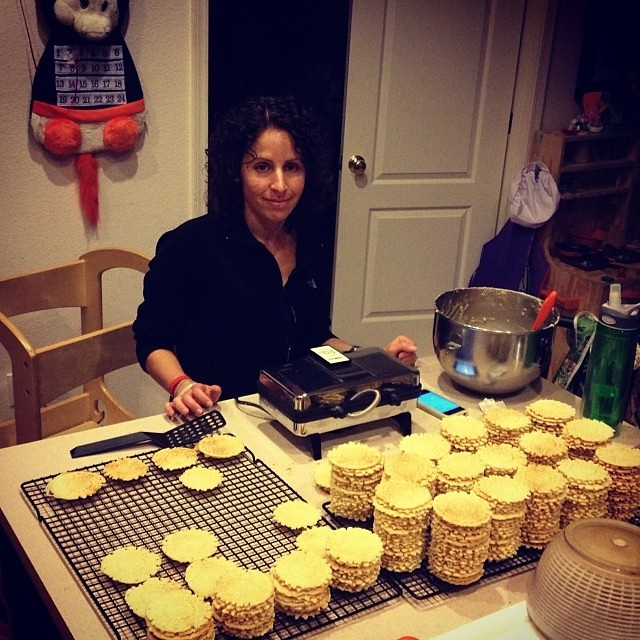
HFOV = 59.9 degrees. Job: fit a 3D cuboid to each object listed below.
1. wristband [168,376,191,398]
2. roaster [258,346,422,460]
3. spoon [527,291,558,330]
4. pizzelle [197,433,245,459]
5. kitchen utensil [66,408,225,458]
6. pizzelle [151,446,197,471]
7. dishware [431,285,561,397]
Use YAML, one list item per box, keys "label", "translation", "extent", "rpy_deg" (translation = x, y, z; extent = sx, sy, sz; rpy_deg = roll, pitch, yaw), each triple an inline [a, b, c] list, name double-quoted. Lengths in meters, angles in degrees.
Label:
- label: "wristband"
  translation: [-0.351, 0.164, 1.384]
  extent: [0.055, 0.057, 0.060]
  rpy_deg: [16, -16, -14]
- label: "roaster"
  translation: [0.042, 0.154, 1.346]
  extent: [0.369, 0.193, 0.370]
  rpy_deg: [-4, 21, -27]
- label: "spoon"
  translation: [0.560, -0.027, 1.387]
  extent: [0.037, 0.103, 0.190]
  rpy_deg: [10, 22, 21]
- label: "pizzelle"
  translation: [-0.195, 0.248, 1.094]
  extent: [0.051, 0.008, 0.050]
  rpy_deg: [-4, 18, -23]
- label: "kitchen utensil"
  translation: [-0.332, 0.233, 1.137]
  extent: [0.331, 0.050, 0.090]
  rpy_deg: [-9, 31, -17]
- label: "pizzelle"
  translation: [-0.276, 0.263, 1.054]
  extent: [0.082, 0.013, 0.076]
  rpy_deg: [7, 21, 16]
- label: "dishware"
  translation: [0.455, 0.063, 1.505]
  extent: [0.326, 0.225, 0.375]
  rpy_deg: [15, 25, 33]
